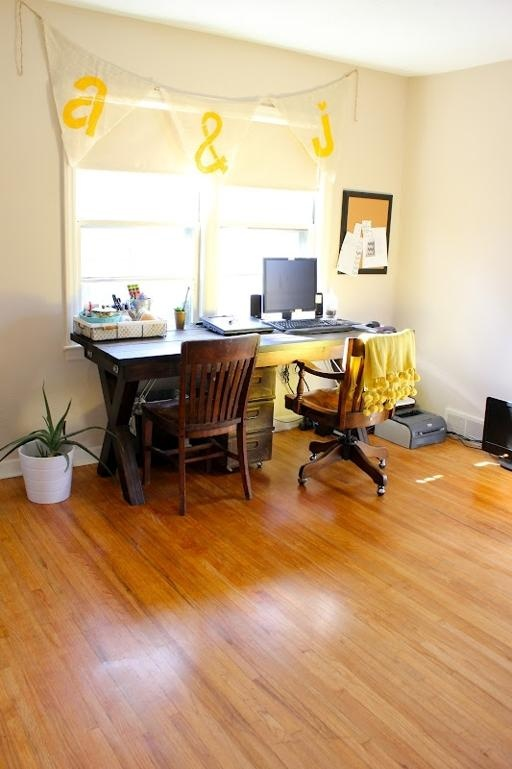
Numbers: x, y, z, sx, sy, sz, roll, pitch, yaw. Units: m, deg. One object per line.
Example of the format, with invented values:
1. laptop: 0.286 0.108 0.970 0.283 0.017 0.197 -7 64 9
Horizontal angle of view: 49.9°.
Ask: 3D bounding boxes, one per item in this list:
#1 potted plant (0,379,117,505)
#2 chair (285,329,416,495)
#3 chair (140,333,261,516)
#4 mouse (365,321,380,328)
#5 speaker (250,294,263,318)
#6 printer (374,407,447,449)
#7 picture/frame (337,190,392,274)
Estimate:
1. potted plant: -1.057 0.213 2.783 0.538 0.509 0.550 2 11 5
2. chair: 0.494 0.097 2.991 0.578 0.850 0.658 -12 18 -37
3. chair: -0.300 0.140 2.680 0.422 0.822 0.568 -4 15 -26
4. mouse: 0.756 -0.391 3.567 0.069 0.029 0.072 7 18 17
5. speaker: -0.003 -0.496 3.487 0.075 0.142 0.044 2 8 -1
6. printer: 1.039 0.289 3.702 0.333 0.170 0.336 -10 18 -35
7. picture/frame: 0.752 -1.101 3.912 0.530 0.639 0.026 -12 20 -39
